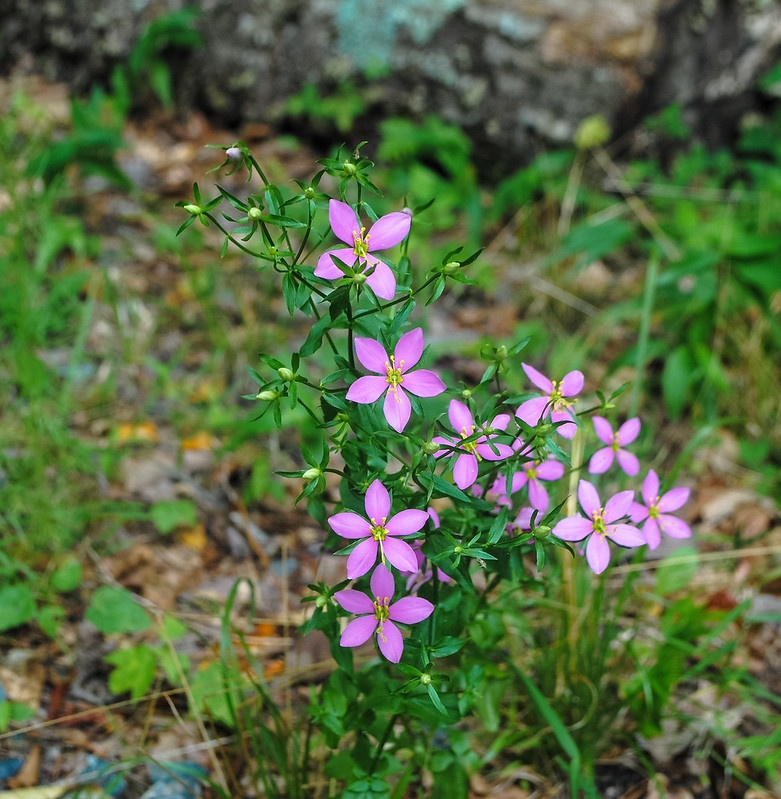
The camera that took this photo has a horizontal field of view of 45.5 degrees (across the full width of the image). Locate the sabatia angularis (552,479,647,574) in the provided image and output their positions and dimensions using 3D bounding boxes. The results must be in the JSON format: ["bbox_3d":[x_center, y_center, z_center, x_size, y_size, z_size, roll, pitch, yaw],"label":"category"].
[{"bbox_3d":[0.525,0.313,2.347,0.169,0.054,0.162,6,21,-11],"label":"sabatia angularis"}]

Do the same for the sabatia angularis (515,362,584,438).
[{"bbox_3d":[0.410,0.002,2.409,0.169,0.185,0.171,11,-18,-1],"label":"sabatia angularis"}]

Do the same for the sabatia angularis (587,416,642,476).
[{"bbox_3d":[0.635,0.128,2.624,0.188,0.053,0.194,7,16,16],"label":"sabatia angularis"}]
